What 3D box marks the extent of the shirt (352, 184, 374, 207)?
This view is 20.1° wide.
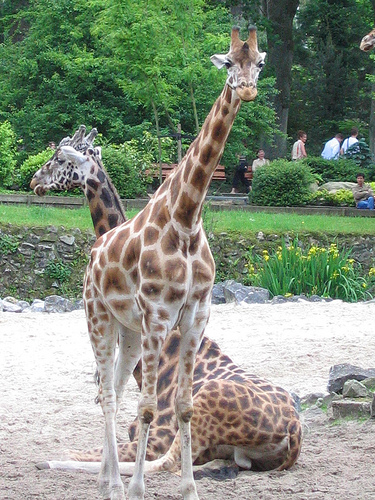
[{"bbox_3d":[3.490,-1.095,21.086,0.411,0.450,0.605,2,5,8],"label":"shirt"}]

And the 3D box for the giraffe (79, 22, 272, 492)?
[{"bbox_3d":[-0.156,0.065,6.365,0.612,2.776,1.174,-2,6,-39],"label":"giraffe"}]

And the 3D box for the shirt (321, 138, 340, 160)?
[{"bbox_3d":[3.477,-2.483,25.728,0.449,0.503,0.964,2,5,7],"label":"shirt"}]

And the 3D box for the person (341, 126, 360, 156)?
[{"bbox_3d":[3.944,-2.641,25.600,0.441,0.717,1.641,2,5,8],"label":"person"}]

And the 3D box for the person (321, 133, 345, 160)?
[{"bbox_3d":[3.507,-2.542,25.811,0.479,0.606,0.997,2,5,7],"label":"person"}]

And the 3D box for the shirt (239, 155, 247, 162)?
[{"bbox_3d":[1.389,-2.331,26.975,0.199,0.260,0.248,0,7,3],"label":"shirt"}]

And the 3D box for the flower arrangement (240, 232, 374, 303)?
[{"bbox_3d":[1.665,0.297,13.904,1.101,0.695,1.143,-1,-3,11],"label":"flower arrangement"}]
